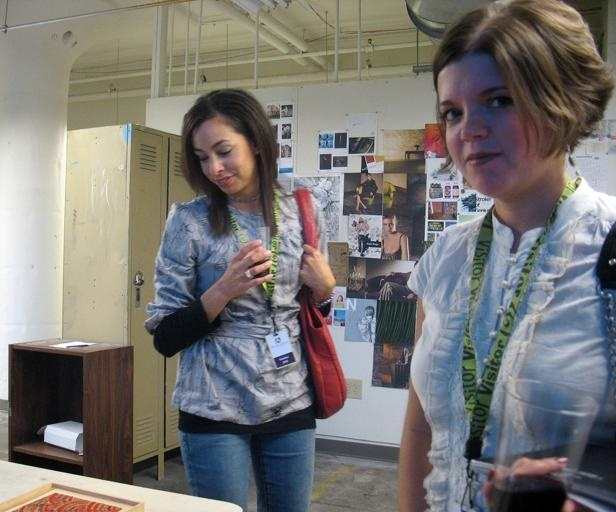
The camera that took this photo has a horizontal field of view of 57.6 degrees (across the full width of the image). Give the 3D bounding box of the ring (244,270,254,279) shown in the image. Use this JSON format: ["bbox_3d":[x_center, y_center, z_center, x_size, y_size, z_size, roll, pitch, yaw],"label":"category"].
[{"bbox_3d":[-0.198,0.057,1.869,0.024,0.022,0.043,-3,2,-6],"label":"ring"}]
